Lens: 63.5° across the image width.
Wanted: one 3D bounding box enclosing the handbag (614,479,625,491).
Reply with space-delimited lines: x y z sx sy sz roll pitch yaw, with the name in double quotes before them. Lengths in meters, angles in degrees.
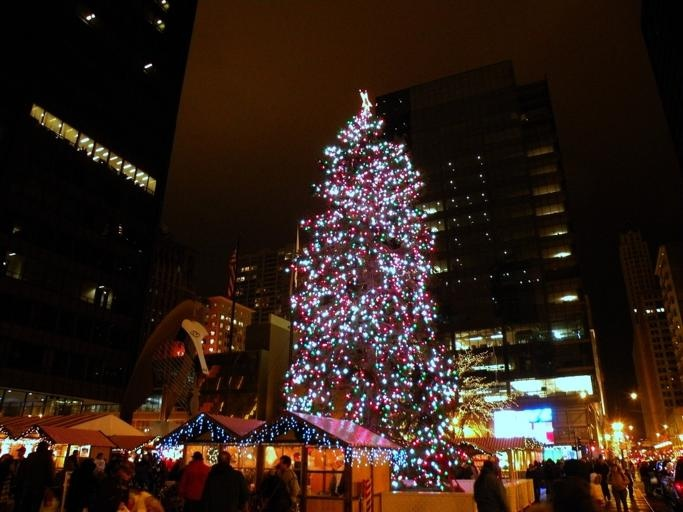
"handbag" 13.026 10.653 25.799 0.500 0.135 0.541 -1 -4 -14
